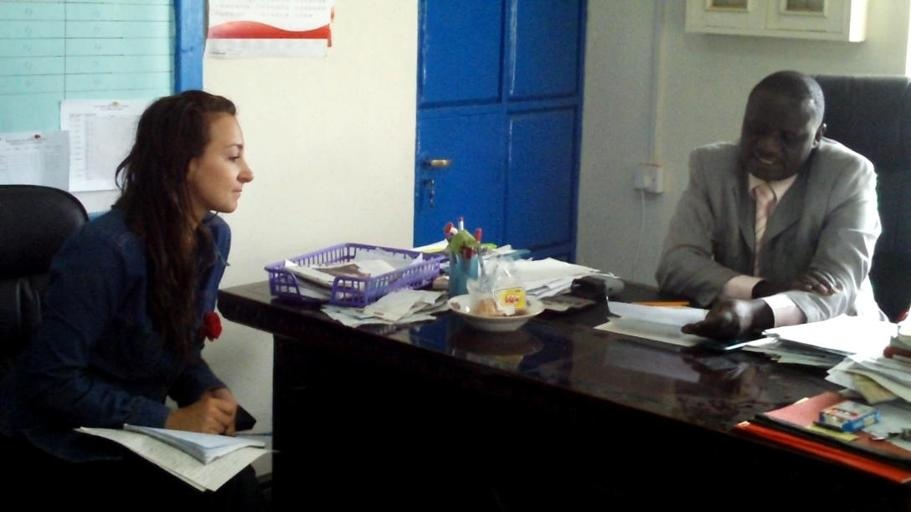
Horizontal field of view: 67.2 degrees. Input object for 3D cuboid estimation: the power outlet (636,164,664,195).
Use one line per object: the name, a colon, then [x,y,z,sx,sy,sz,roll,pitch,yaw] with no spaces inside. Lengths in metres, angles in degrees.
power outlet: [1.105,-0.430,3.927,0.203,0.176,0.166,1,2,22]

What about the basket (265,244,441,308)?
basket: [-0.297,0.071,2.350,0.330,0.077,0.358,10,15,35]

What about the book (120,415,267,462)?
book: [-0.759,0.521,1.942,0.375,0.075,0.156,4,13,17]

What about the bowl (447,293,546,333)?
bowl: [0.085,0.179,2.114,0.245,0.055,0.233,3,10,-1]

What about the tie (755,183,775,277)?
tie: [1.093,-0.095,2.461,0.058,0.329,0.041,9,2,16]
